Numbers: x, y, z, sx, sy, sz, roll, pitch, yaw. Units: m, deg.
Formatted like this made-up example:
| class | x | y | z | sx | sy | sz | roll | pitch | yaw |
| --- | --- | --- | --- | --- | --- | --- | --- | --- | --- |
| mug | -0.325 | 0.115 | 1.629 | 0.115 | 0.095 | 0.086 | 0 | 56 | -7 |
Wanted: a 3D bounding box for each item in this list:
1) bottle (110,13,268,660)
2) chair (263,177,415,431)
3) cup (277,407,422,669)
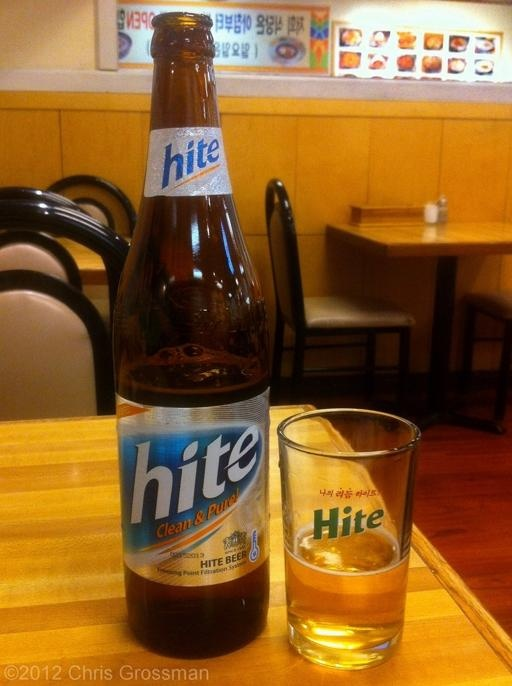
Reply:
| class | x | y | z | sx | sy | sz | roll | pitch | yaw |
| --- | --- | --- | --- | --- | --- | --- | --- | --- | --- |
| bottle | -0.023 | -0.009 | 0.273 | 0.082 | 0.273 | 0.091 | 0 | 7 | -14 |
| chair | 0.313 | -0.167 | 2.370 | 0.533 | 0.903 | 0.472 | -3 | 11 | -14 |
| cup | 0.040 | 0.082 | 0.270 | 0.061 | 0.093 | 0.070 | 4 | 7 | 15 |
